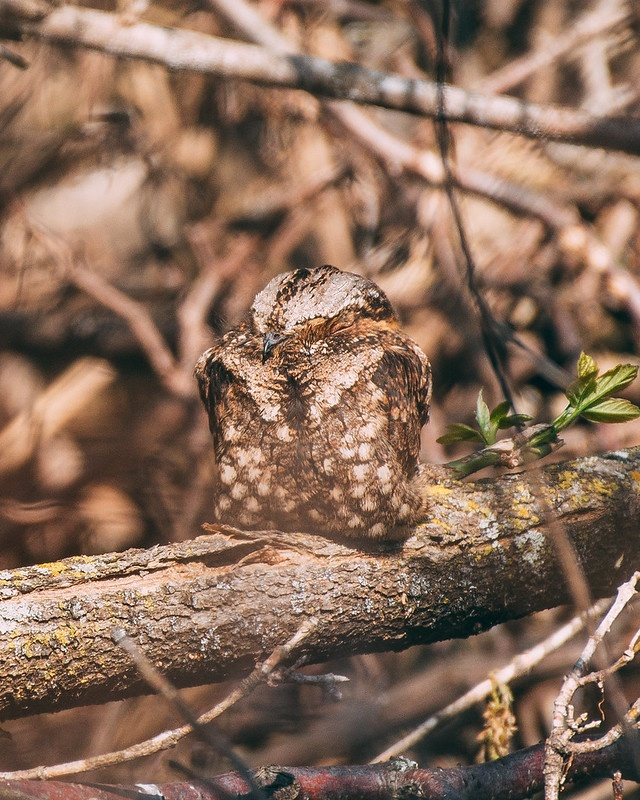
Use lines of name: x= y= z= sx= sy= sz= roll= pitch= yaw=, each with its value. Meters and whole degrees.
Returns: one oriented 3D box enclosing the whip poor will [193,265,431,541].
whip poor will: x=-0.054 y=0.030 z=2.249 sx=0.511 sy=0.458 sz=0.432 roll=-5 pitch=85 yaw=24
